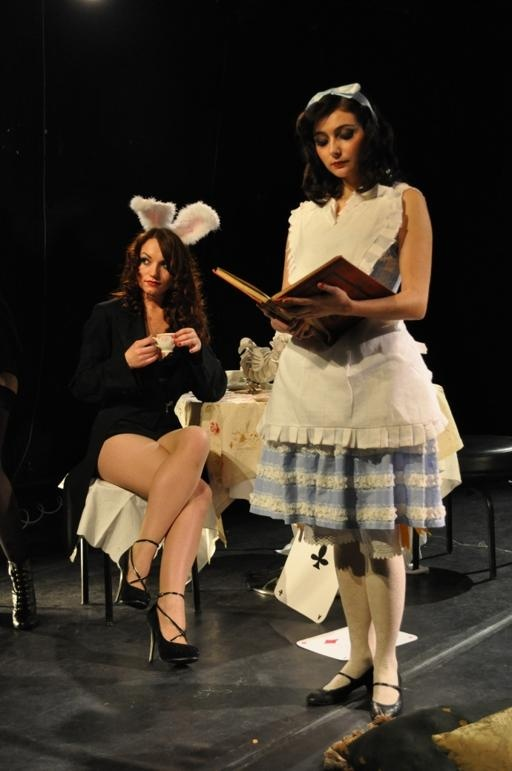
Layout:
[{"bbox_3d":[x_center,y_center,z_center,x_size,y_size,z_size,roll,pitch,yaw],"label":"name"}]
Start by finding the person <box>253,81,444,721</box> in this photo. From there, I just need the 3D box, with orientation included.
[{"bbox_3d":[0.226,0.048,1.612,0.397,1.362,0.380,-1,-2,-19],"label":"person"}]

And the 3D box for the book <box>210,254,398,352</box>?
[{"bbox_3d":[0.117,-0.202,1.499,0.213,0.090,0.273,-31,-31,25],"label":"book"}]

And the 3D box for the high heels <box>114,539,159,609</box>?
[{"bbox_3d":[-0.332,0.528,1.985,0.091,0.090,0.249,4,-5,-13],"label":"high heels"}]

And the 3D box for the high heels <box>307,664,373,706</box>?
[{"bbox_3d":[0.197,0.706,1.736,0.200,0.073,0.062,5,-15,-30],"label":"high heels"}]

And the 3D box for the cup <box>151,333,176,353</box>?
[{"bbox_3d":[-0.269,-0.119,2.098,0.056,0.047,0.065,-5,6,-24],"label":"cup"}]

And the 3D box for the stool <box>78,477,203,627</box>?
[{"bbox_3d":[-0.409,0.441,2.218,0.289,0.315,0.260,22,1,18],"label":"stool"}]
